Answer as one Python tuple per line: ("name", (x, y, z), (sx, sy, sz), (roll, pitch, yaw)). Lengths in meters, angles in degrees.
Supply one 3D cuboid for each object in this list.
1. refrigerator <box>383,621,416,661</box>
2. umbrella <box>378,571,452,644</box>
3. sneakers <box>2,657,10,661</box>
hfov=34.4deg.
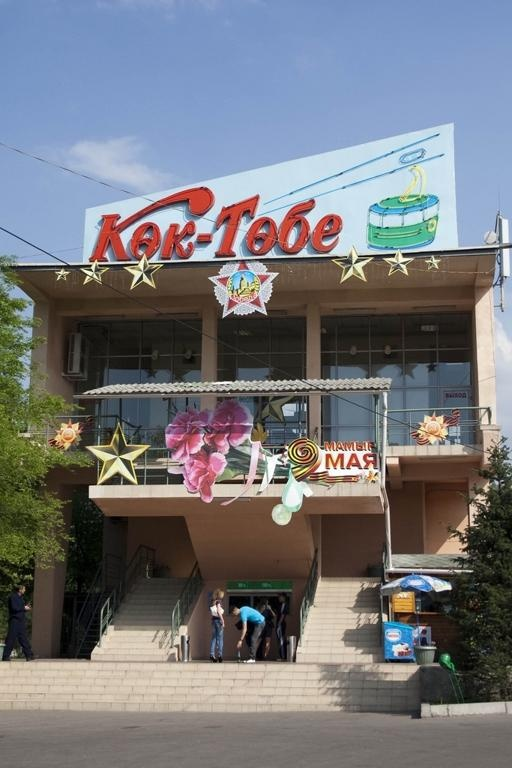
("refrigerator", (2.898, 5.201, 16.872), (0.795, 0.923, 0.705), (-2, -13, 4))
("umbrella", (3.505, 4.737, 17.987), (1.289, 0.746, 1.210), (-3, -1, 11))
("sneakers", (-4.980, 5.416, 16.400), (0.150, 0.074, 0.095), (-5, -21, 11))
